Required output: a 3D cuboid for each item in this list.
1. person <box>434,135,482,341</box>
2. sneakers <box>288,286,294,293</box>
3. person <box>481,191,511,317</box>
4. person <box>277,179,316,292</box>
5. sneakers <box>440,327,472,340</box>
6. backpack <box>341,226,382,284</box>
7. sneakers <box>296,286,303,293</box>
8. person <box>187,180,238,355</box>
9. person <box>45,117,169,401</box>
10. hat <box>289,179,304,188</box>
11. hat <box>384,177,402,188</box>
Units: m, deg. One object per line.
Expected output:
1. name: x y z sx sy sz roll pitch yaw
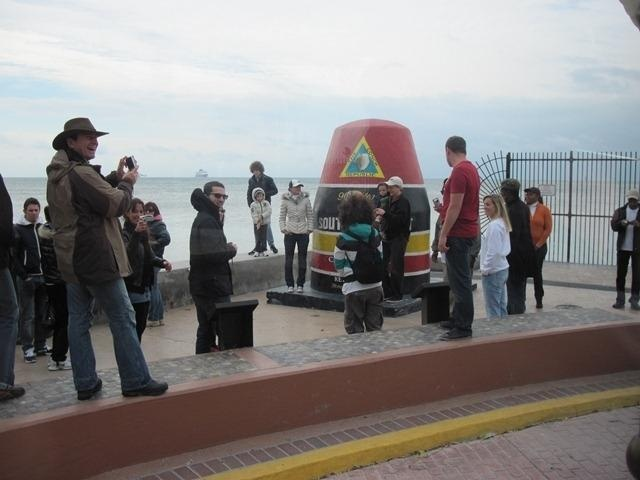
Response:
1. person: 1.511 -0.027 6.131 0.400 2.175 1.024 1 6 14
2. sneakers: -0.570 0.938 10.870 0.072 0.084 0.193 0 -7 -3
3. person: 2.356 0.231 7.578 0.379 1.656 0.922 2 7 18
4. person: -0.467 -0.087 10.969 0.584 2.112 0.723 -3 7 -24
5. sneakers: 1.481 0.997 6.101 0.308 0.134 0.136 1 -5 7
6. backpack: 0.554 0.224 6.949 0.416 0.625 0.622 -2 -3 -32
7. sneakers: -0.397 0.929 10.801 0.082 0.101 0.233 0 -6 -4
8. person: -1.271 0.304 6.632 0.490 1.980 0.551 -6 9 -44
9. person: -1.813 0.136 4.611 0.841 2.246 0.526 -2 6 -15
10. hat: -0.423 -1.050 10.621 0.297 0.120 0.342 -2 7 -13
11. hat: 1.235 -0.976 9.449 0.237 0.130 0.188 8 9 -5
